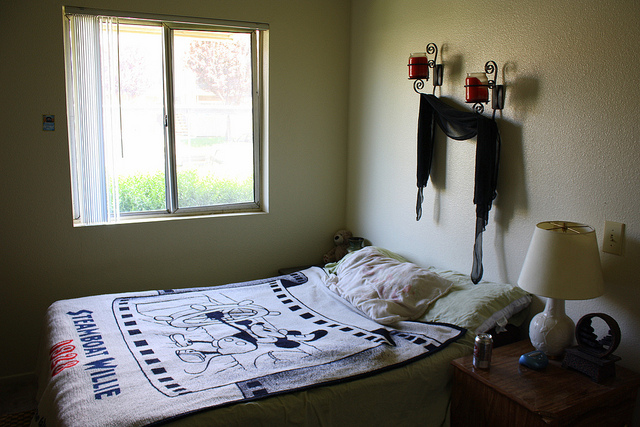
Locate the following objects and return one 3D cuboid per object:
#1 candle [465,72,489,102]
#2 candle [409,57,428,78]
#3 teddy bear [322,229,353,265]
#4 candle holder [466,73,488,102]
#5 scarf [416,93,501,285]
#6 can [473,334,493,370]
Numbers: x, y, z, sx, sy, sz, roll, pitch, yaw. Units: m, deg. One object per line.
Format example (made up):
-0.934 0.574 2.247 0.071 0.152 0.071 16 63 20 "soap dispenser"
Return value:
1.089 -0.871 3.247 0.168 0.189 0.170 4 15 33 "candle"
0.743 -1.085 3.545 0.140 0.152 0.143 2 7 30 "candle"
0.163 0.322 4.541 0.276 0.355 0.265 -1 -3 -8 "teddy bear"
1.065 -0.845 3.180 0.176 0.195 0.176 1 9 10 "candle holder"
1.038 -0.203 3.446 0.205 1.432 1.148 -4 15 -21 "scarf"
0.970 0.829 2.800 0.111 0.190 0.109 4 0 0 "can"
